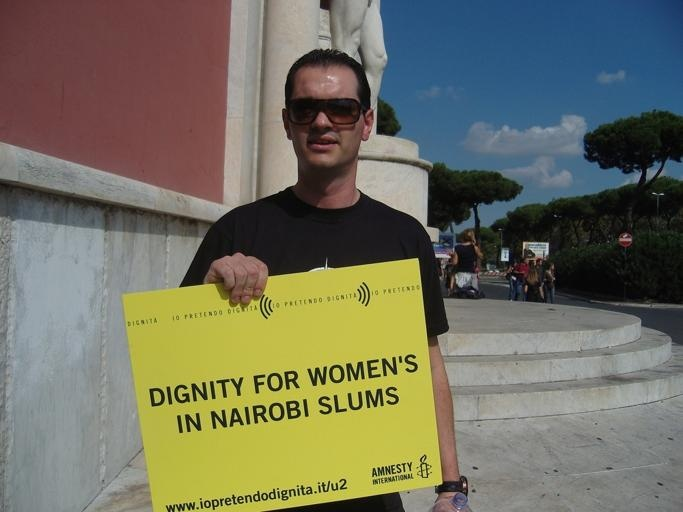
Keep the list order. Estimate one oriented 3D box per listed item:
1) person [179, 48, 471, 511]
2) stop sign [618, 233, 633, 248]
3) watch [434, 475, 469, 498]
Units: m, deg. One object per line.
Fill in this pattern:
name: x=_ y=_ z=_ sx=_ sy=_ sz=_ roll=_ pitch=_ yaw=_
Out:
person: x=-0.012 y=0.063 z=2.901 sx=1.272 sy=1.862 sz=0.572 roll=6 pitch=13 yaw=13
stop sign: x=8.586 y=-0.460 z=19.614 sx=0.398 sy=0.593 sz=0.453 roll=1 pitch=-3 yaw=6
watch: x=0.482 y=0.990 z=2.844 sx=0.104 sy=0.074 sz=0.088 roll=-5 pitch=-12 yaw=2
